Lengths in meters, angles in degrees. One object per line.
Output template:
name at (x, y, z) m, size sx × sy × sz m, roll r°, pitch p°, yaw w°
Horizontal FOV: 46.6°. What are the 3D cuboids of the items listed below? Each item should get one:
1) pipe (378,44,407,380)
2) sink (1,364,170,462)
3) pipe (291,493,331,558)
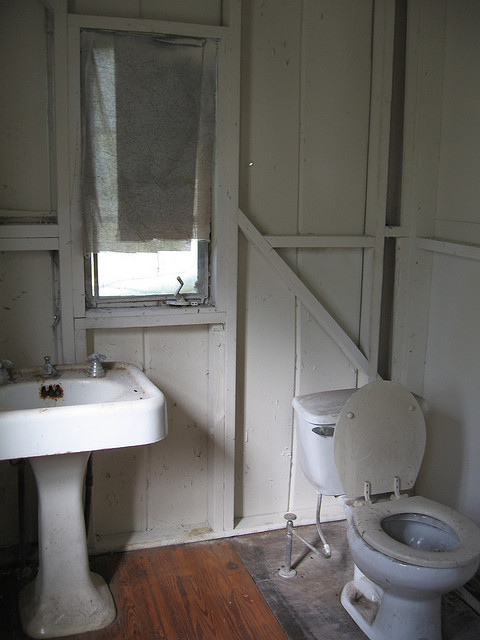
pipe at (0.615, -0.403, 2.274) m, size 0.053 × 1.350 × 0.147 m, roll 3°, pitch 7°, yaw 14°
sink at (-0.463, 0.247, 1.625) m, size 0.445 × 0.135 × 0.430 m, roll -1°, pitch 8°, yaw -19°
pipe at (0.279, 0.739, 2.163) m, size 0.145 × 0.286 × 0.312 m, roll 2°, pitch 7°, yaw 7°
